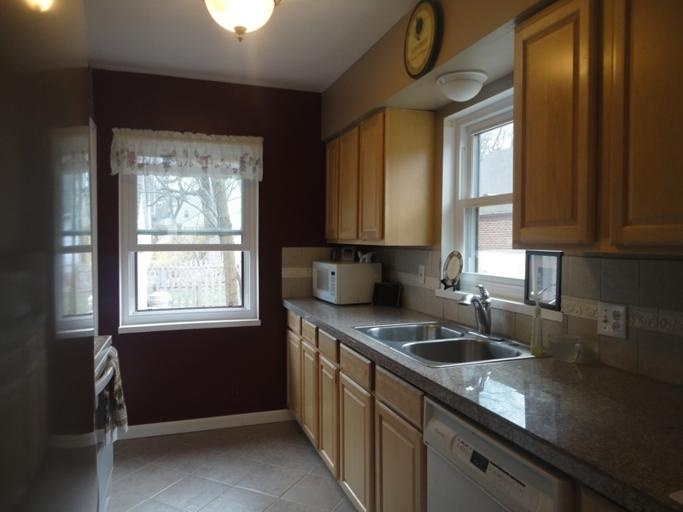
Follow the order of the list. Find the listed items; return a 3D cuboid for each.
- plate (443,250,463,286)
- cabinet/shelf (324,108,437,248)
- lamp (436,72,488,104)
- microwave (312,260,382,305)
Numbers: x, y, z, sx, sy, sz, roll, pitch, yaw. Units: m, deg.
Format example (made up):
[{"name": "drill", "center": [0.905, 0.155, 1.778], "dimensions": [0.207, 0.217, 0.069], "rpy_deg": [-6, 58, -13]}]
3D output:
[{"name": "plate", "center": [0.611, 0.062, 2.810], "dimensions": [0.084, 0.176, 0.186], "rpy_deg": [-2, 4, -22]}, {"name": "cabinet/shelf", "center": [0.222, -0.470, 3.501], "dimensions": [0.383, 0.794, 1.113], "rpy_deg": [-1, 2, -15]}, {"name": "lamp", "center": [0.563, -0.780, 2.467], "dimensions": [0.239, 0.111, 0.240], "rpy_deg": [2, 2, 43]}, {"name": "microwave", "center": [0.039, 0.169, 3.533], "dimensions": [0.254, 0.244, 0.387], "rpy_deg": [1, 1, -18]}]
